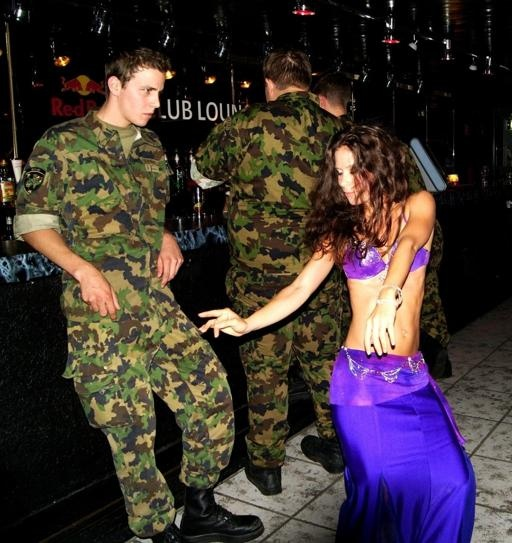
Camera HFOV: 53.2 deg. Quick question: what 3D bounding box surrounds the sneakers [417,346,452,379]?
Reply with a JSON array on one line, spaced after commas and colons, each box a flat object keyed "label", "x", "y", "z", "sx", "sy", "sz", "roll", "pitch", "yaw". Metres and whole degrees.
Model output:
[{"label": "sneakers", "x": 1.218, "y": 0.612, "z": 3.602, "sx": 0.231, "sy": 0.243, "sz": 0.148, "roll": 16, "pitch": -2, "yaw": -15}]

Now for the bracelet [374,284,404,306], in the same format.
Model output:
[{"label": "bracelet", "x": 0.317, "y": 0.059, "z": 1.182, "sx": 0.045, "sy": 0.053, "sz": 0.023, "roll": 7, "pitch": -11, "yaw": 7}]

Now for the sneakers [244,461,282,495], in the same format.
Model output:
[{"label": "sneakers", "x": 0.025, "y": 0.885, "z": 2.264, "sx": 0.083, "sy": 0.115, "sz": 0.182, "roll": -7, "pitch": 26, "yaw": -28}]
